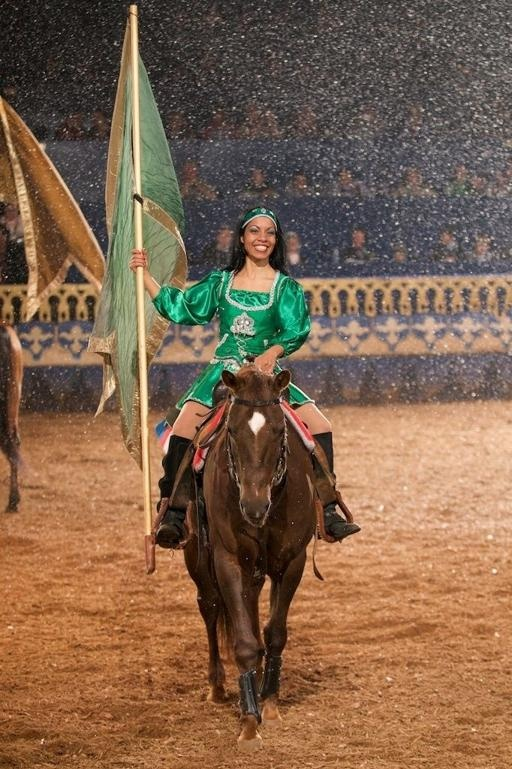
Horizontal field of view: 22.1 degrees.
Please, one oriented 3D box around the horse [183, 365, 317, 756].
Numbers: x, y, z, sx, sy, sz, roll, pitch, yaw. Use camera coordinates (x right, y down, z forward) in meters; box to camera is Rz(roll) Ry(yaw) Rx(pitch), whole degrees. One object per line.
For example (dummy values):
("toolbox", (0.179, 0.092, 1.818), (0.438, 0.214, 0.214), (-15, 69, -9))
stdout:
("horse", (0.006, 0.830, 6.748), (0.601, 1.891, 1.021), (-3, 14, -9))
